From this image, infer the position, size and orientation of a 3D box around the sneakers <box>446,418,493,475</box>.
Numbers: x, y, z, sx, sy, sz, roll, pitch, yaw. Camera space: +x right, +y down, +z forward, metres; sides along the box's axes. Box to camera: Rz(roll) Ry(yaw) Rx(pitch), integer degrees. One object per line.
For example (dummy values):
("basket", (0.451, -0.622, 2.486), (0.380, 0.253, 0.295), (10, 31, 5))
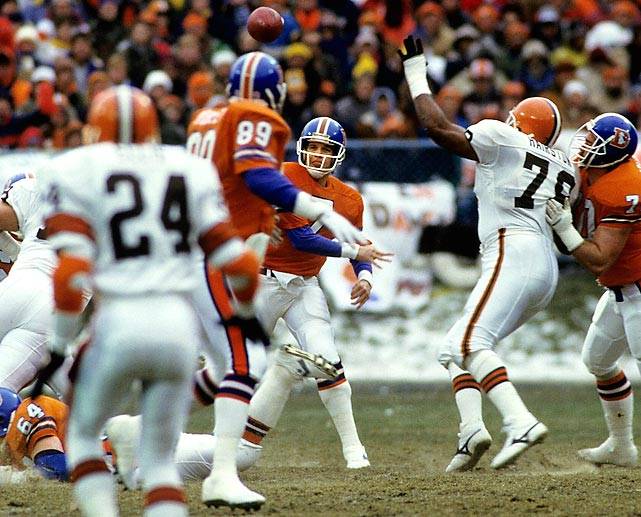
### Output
("sneakers", (0.953, 1.240, 6.538), (0.275, 0.355, 0.293), (0, 2, -3))

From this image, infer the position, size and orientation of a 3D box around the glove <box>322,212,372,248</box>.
("glove", (0.140, -0.160, 5.465), (0.257, 0.133, 0.077), (44, 4, 19))

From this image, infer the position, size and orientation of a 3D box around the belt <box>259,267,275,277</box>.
("belt", (-0.358, 0.084, 6.853), (0.096, 0.067, 0.030), (0, 2, 0))

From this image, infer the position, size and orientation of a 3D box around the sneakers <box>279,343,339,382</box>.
("sneakers", (-0.079, 0.690, 6.694), (0.400, 0.261, 0.288), (0, 2, 0))

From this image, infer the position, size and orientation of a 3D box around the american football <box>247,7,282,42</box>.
("american football", (-0.359, -1.544, 6.455), (0.210, 0.243, 0.227), (0, 2, 4))

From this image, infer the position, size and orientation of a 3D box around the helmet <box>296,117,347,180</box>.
("helmet", (0.077, -0.818, 7.192), (0.321, 0.400, 0.425), (16, 12, 6))

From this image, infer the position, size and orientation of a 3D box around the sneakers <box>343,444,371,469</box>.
("sneakers", (0.247, 1.350, 6.850), (0.181, 0.152, 0.322), (0, 3, 2))

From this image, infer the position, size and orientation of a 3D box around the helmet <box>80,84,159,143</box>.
("helmet", (-1.012, -0.762, 5.050), (0.298, 0.330, 0.318), (-2, 11, -16))

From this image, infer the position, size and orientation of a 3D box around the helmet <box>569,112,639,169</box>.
("helmet", (1.932, -0.864, 6.893), (0.435, 0.373, 0.343), (7, 28, 7))

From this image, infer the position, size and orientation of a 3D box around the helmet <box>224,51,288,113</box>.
("helmet", (-0.373, -1.064, 5.903), (0.283, 0.369, 0.362), (3, -2, -1))

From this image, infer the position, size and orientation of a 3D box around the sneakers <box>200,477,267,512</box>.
("sneakers", (-0.497, 1.304, 5.583), (0.410, 0.197, 0.143), (4, -21, 13))

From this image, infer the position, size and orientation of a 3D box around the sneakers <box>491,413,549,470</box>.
("sneakers", (1.330, 1.234, 6.660), (0.153, 0.454, 0.286), (22, 28, -51))
